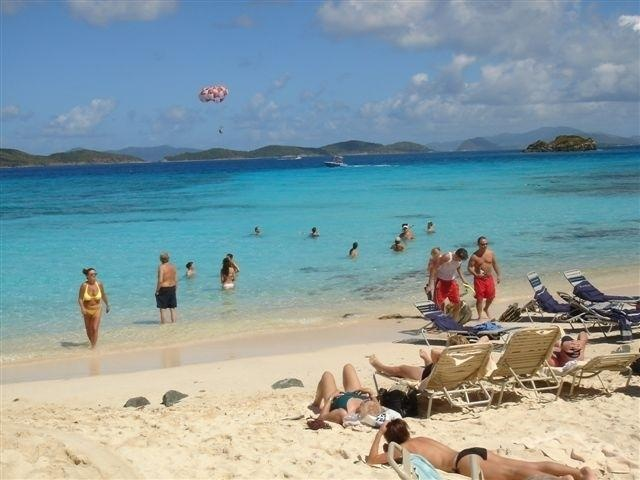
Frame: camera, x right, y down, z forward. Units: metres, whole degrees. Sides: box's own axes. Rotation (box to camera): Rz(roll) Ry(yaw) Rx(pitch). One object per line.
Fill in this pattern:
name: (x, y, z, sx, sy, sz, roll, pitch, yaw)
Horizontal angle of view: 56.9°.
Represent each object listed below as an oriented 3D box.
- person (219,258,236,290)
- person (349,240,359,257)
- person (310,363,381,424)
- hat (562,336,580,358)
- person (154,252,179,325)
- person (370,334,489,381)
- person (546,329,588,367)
person: (-2.872, 1.046, 18.688, 0.543, 0.965, 0.558, -8, 10, -26)
person: (1.357, 0.397, 23.336, 0.245, 0.811, 0.246, 19, -45, -10)
person: (0.418, 2.508, 9.486, 0.850, 0.719, 1.852, 1, -2, -30)
hat: (4.381, 1.877, 10.300, 0.335, 0.344, 0.413, -1, 2, 4)
person: (-3.976, 1.238, 15.268, 0.548, 1.885, 0.961, -6, 10, -15)
person: (1.470, 2.093, 9.947, 1.096, 0.452, 1.379, -1, 1, -27)
person: (4.359, 1.902, 10.417, 0.646, 0.566, 0.717, -3, 0, 12)
